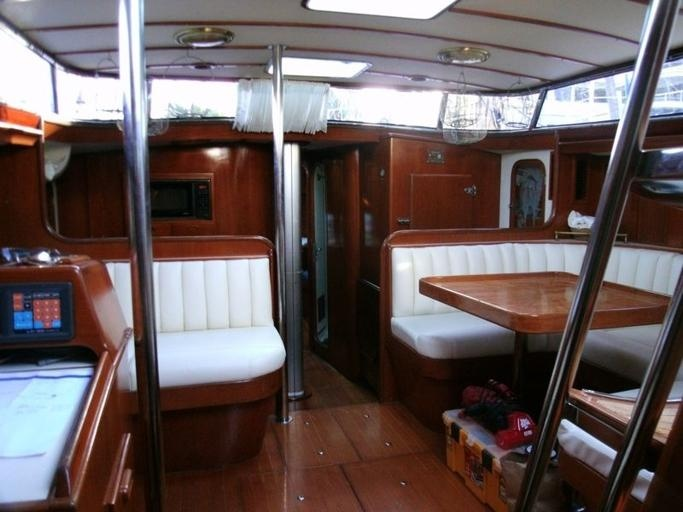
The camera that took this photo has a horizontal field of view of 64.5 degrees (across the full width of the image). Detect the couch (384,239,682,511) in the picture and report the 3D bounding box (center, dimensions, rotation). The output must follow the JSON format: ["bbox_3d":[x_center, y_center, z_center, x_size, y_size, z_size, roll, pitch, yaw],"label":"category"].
[{"bbox_3d":[0.937,0.409,3.300,1.567,1.038,1.166,1,0,-14],"label":"couch"}]

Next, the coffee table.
[{"bbox_3d":[1.003,0.415,2.797,0.982,0.551,1.032,-3,9,-18],"label":"coffee table"}]

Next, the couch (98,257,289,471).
[{"bbox_3d":[-0.742,0.549,3.017,0.888,0.997,0.739,-4,9,-23],"label":"couch"}]
